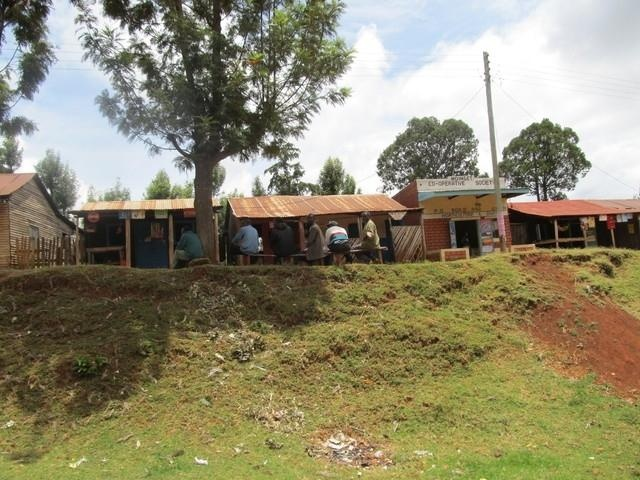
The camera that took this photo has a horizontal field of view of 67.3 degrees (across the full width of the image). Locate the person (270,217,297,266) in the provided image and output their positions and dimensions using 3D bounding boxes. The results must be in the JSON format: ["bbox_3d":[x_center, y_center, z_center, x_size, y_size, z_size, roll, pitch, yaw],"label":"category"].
[{"bbox_3d":[-1.297,0.062,16.716,0.786,1.006,1.163,-2,-1,-4],"label":"person"}]

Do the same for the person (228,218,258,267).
[{"bbox_3d":[-2.640,0.038,16.726,0.876,1.595,1.907,-2,-1,-11],"label":"person"}]

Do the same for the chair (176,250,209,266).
[{"bbox_3d":[-3.909,0.608,14.469,0.744,0.345,0.568,1,3,34],"label":"chair"}]
